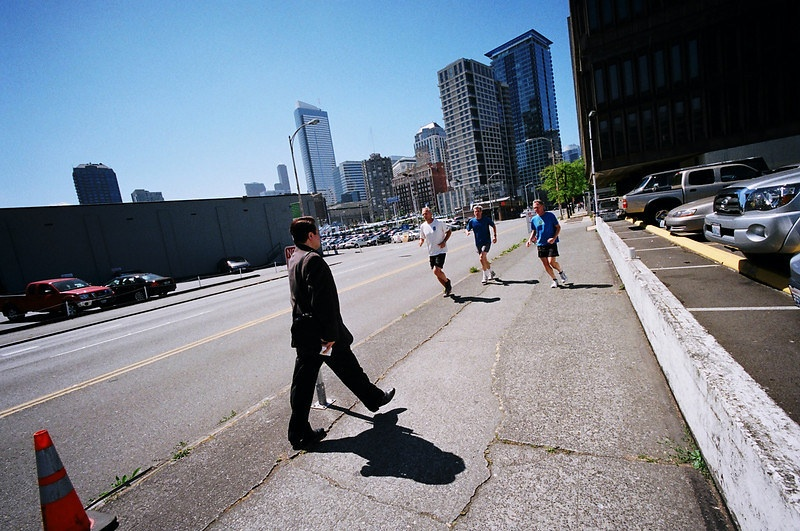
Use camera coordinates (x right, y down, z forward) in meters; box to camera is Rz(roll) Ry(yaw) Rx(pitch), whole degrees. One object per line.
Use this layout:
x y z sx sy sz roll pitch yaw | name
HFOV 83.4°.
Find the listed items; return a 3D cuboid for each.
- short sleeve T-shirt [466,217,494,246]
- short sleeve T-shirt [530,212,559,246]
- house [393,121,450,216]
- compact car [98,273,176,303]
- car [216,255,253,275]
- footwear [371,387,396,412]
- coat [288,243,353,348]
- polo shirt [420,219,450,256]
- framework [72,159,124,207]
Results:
2.238 -0.957 12.638 0.714 0.824 0.529 -9 10 8 | short sleeve T-shirt
3.462 -0.876 10.824 0.674 0.785 0.499 -12 -15 24 | short sleeve T-shirt
13.302 -36.313 183.614 22.883 37.779 23.393 -4 3 35 | house
-13.415 1.112 22.587 3.067 1.050 1.460 0 1 17 | compact car
-12.999 0.021 35.385 1.860 0.724 5.397 -16 11 -30 | car
-0.227 1.999 6.838 0.158 0.220 0.497 16 29 26 | footwear
-1.224 0.538 6.480 0.700 1.437 0.534 -7 10 15 | coat
0.906 -0.729 11.801 0.723 0.906 0.447 -7 10 16 | polo shirt
-135.456 -36.115 201.384 7.826 14.384 14.726 -3 12 37 | framework
